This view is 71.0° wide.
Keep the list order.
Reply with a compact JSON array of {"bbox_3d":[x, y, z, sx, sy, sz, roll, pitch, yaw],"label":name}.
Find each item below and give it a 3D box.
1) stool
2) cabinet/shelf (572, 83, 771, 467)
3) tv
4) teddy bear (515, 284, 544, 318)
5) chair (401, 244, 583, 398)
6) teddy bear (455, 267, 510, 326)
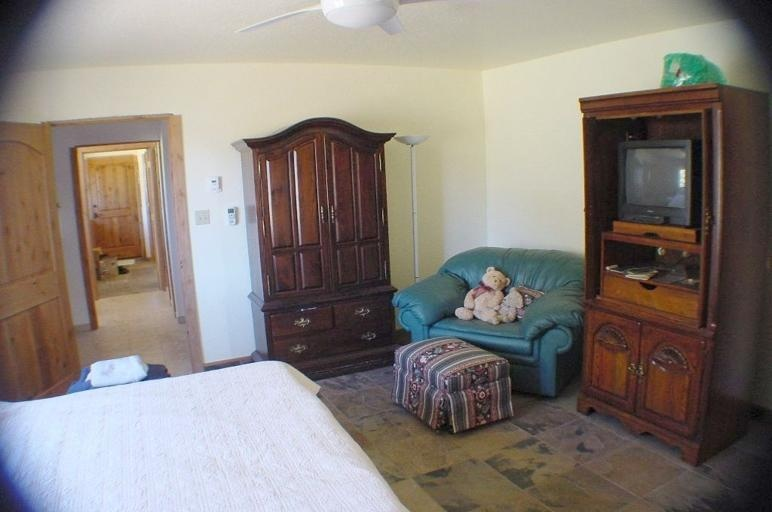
[{"bbox_3d":[0.542,1.001,4.500,0.764,0.459,0.916,-7,10,-28],"label":"stool"},{"bbox_3d":[2.073,0.112,3.826,0.644,2.530,1.226,-11,11,-38],"label":"cabinet/shelf"},{"bbox_3d":[2.067,-0.559,3.939,0.448,0.597,0.633,-21,22,-30],"label":"tv"},{"bbox_3d":[1.314,0.424,4.943,0.280,0.248,0.104,10,-9,33],"label":"teddy bear"},{"bbox_3d":[1.083,0.541,5.100,1.827,0.925,1.077,3,18,36],"label":"chair"},{"bbox_3d":[0.914,0.355,5.056,0.433,0.477,0.403,13,10,31],"label":"teddy bear"}]
